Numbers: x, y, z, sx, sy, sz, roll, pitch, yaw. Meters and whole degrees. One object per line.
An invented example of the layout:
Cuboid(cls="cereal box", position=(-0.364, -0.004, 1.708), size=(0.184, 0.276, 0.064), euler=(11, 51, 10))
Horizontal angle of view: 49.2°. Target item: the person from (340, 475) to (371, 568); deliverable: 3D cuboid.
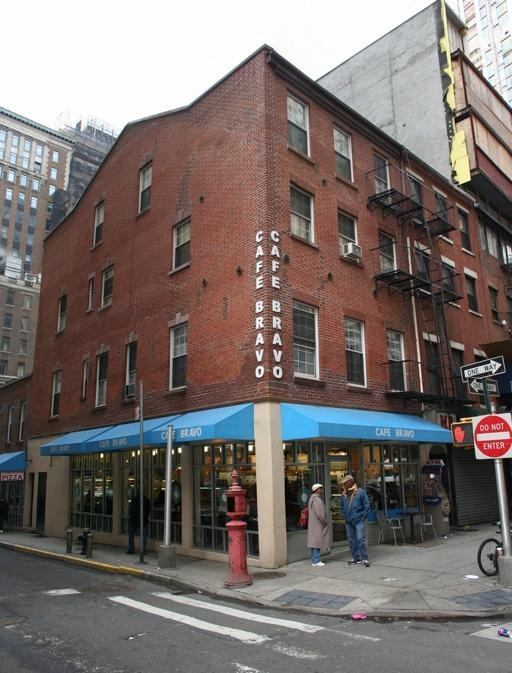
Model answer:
Cuboid(cls="person", position=(2.077, 3.738, 11.443), size=(0.532, 1.722, 1.099), euler=(-5, -16, 8))

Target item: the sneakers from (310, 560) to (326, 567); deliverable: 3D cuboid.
Cuboid(cls="sneakers", position=(1.240, 4.527, 11.097), size=(0.231, 0.100, 0.100), euler=(-15, -22, 39))

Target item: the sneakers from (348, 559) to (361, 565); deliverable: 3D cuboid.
Cuboid(cls="sneakers", position=(1.972, 4.532, 11.170), size=(0.267, 0.110, 0.089), euler=(4, -19, 2))

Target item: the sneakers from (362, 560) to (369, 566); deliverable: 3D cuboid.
Cuboid(cls="sneakers", position=(2.118, 4.414, 10.838), size=(0.107, 0.086, 0.206), euler=(1, -17, -2))

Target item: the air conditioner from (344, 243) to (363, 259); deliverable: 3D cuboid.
Cuboid(cls="air conditioner", position=(2.618, -2.328, 15.307), size=(0.315, 0.428, 0.612), euler=(-16, -20, 38))

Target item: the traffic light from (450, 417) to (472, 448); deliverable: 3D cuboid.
Cuboid(cls="traffic light", position=(3.847, 1.768, 10.412), size=(0.351, 0.502, 0.905), euler=(-8, -16, 18))
